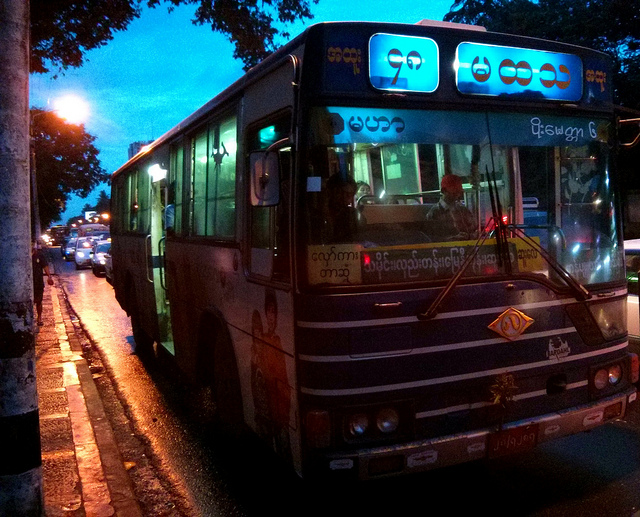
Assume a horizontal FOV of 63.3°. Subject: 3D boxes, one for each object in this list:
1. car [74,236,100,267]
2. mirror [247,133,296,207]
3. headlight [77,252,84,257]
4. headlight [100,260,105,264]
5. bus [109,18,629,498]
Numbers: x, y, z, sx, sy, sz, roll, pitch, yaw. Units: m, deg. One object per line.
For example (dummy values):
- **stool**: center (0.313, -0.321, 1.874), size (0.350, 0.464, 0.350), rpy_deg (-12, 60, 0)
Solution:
- **car**: center (-14.512, -0.420, 32.394), size (1.477, 1.623, 2.807), rpy_deg (-1, 3, -27)
- **mirror**: center (-0.333, -0.562, 3.538), size (0.226, 0.463, 0.305), rpy_deg (-9, 17, -42)
- **headlight**: center (-14.726, -0.215, 32.037), size (0.468, 0.282, 0.180), rpy_deg (-1, 4, 31)
- **headlight**: center (-10.519, 0.189, 25.101), size (0.174, 0.199, 0.046), rpy_deg (6, -6, 10)
- **bus**: center (0.445, -0.042, 4.280), size (3.802, 3.430, 2.146), rpy_deg (-1, 4, 26)
